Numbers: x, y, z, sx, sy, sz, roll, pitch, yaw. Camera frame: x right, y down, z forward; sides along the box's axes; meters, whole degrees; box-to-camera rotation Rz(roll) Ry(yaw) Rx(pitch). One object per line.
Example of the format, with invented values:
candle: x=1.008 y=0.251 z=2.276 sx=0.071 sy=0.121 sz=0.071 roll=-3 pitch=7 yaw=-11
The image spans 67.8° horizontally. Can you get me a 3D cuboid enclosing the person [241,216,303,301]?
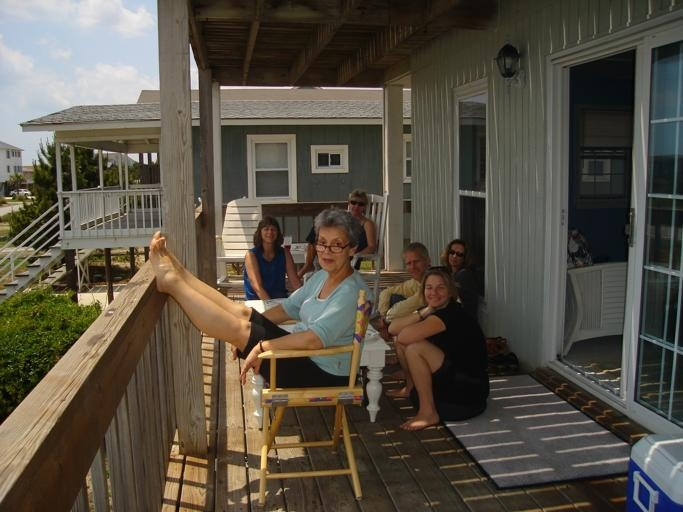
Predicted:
person: x=-0.664 y=0.057 z=4.852 sx=0.515 sy=0.841 sz=0.828 roll=-4 pitch=11 yaw=-17

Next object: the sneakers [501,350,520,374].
sneakers: x=1.486 y=0.916 z=4.443 sx=0.123 sy=0.169 sz=0.172 roll=0 pitch=-1 yaw=-5

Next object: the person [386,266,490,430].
person: x=0.662 y=0.601 z=3.626 sx=0.750 sy=1.043 sz=0.721 roll=1 pitch=3 yaw=13

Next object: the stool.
stool: x=-0.055 y=0.787 z=3.293 sx=0.890 sy=1.526 sz=0.965 roll=2 pitch=-3 yaw=-7

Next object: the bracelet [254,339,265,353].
bracelet: x=-0.414 y=0.458 z=2.580 sx=0.039 sy=0.057 sz=0.055 roll=0 pitch=-1 yaw=-7

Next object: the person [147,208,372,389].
person: x=-0.429 y=0.203 z=2.759 sx=1.156 sy=0.948 sz=0.566 roll=7 pitch=9 yaw=-18

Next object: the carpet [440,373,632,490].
carpet: x=1.240 y=1.160 z=3.234 sx=0.993 sy=0.025 sz=0.869 roll=-3 pitch=10 yaw=-11

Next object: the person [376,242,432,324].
person: x=0.622 y=0.301 z=4.615 sx=0.533 sy=0.819 sz=0.586 roll=-4 pitch=3 yaw=2
